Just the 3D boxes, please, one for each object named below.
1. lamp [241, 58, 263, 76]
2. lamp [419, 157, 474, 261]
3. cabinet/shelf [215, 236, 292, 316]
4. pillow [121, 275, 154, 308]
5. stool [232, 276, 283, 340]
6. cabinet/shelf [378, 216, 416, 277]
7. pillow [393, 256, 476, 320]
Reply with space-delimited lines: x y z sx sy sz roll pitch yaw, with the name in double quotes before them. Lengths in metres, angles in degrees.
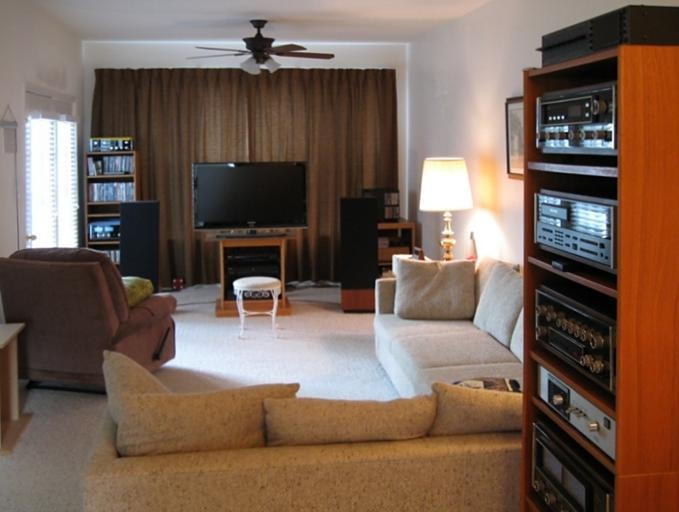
"lamp" -0.904 -1.958 5.665 0.169 0.139 0.204 7 13 40
"lamp" 1.065 -0.472 5.456 0.478 0.990 0.832 1 9 13
"cabinet/shelf" -1.020 0.130 6.536 1.021 1.123 0.804 0 1 -5
"pillow" -1.522 0.254 4.210 0.199 0.114 0.221 -15 5 -20
"stool" -0.850 0.447 5.629 0.533 0.638 0.554 -2 10 -15
"cabinet/shelf" 0.653 -0.176 7.014 0.524 0.816 0.729 -1 9 -3
"pillow" 0.738 0.267 4.280 0.396 0.376 0.148 1 -8 5
